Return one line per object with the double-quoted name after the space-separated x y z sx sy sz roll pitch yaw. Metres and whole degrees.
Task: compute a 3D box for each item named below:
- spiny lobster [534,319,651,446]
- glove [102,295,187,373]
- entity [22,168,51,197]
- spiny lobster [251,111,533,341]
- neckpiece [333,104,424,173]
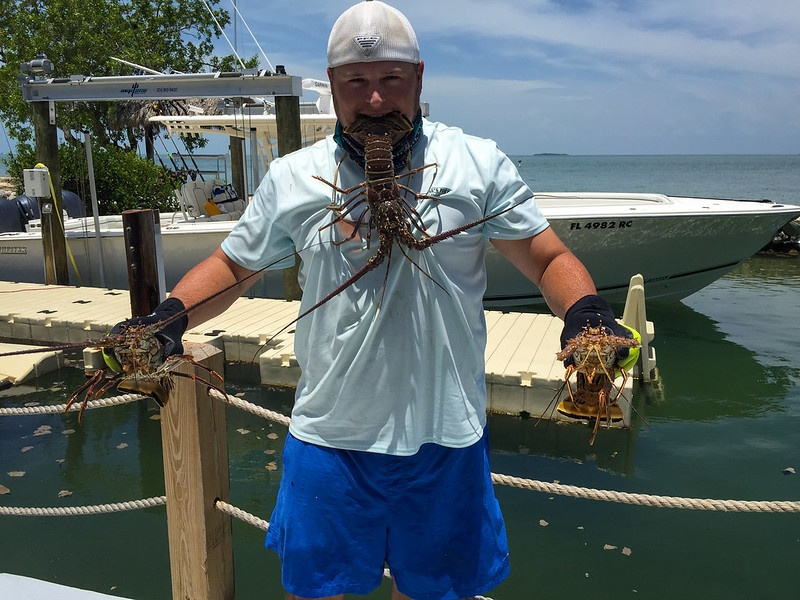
0.806 0.348 2.654 0.272 0.508 0.373 9 13 36 "spiny lobster"
-1.098 0.158 2.806 0.349 0.296 0.176 -3 11 -24 "glove"
-6.077 -1.941 10.860 0.375 0.521 0.366 -4 11 -27 "entity"
-0.042 -0.353 2.779 0.667 0.868 0.396 0 10 -7 "spiny lobster"
-0.089 -0.693 2.811 0.338 0.131 0.368 -1 5 1 "neckpiece"
